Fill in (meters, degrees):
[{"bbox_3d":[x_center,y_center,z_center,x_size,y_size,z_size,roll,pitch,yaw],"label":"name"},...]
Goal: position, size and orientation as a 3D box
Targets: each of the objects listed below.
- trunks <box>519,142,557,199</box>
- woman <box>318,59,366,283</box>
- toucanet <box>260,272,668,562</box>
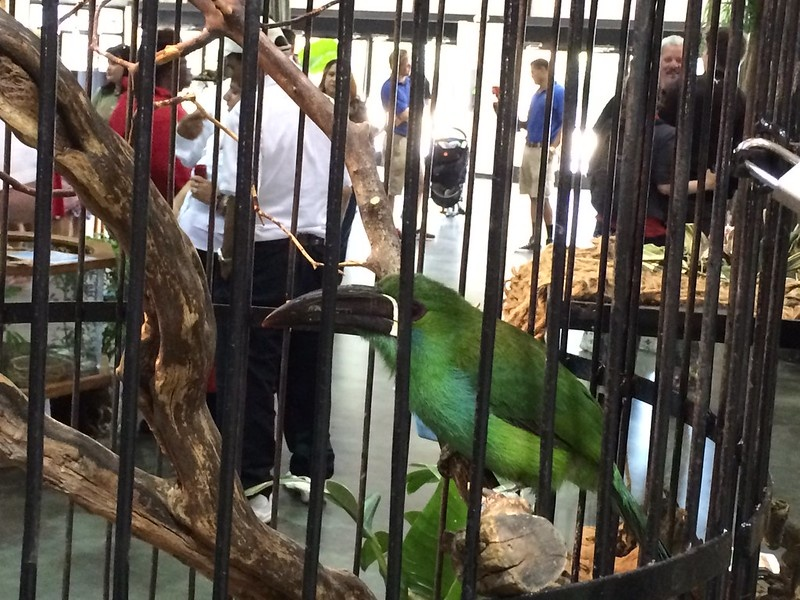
[{"bbox_3d":[1.531,-1.459,10.371,0.284,0.603,0.360,0,6,-34],"label":"trunks"},{"bbox_3d":[-0.305,-0.575,4.189,0.277,1.017,0.273,23,29,38],"label":"woman"},{"bbox_3d":[0.229,0.283,2.489,1.091,0.617,0.303,7,-2,-2],"label":"toucanet"}]
